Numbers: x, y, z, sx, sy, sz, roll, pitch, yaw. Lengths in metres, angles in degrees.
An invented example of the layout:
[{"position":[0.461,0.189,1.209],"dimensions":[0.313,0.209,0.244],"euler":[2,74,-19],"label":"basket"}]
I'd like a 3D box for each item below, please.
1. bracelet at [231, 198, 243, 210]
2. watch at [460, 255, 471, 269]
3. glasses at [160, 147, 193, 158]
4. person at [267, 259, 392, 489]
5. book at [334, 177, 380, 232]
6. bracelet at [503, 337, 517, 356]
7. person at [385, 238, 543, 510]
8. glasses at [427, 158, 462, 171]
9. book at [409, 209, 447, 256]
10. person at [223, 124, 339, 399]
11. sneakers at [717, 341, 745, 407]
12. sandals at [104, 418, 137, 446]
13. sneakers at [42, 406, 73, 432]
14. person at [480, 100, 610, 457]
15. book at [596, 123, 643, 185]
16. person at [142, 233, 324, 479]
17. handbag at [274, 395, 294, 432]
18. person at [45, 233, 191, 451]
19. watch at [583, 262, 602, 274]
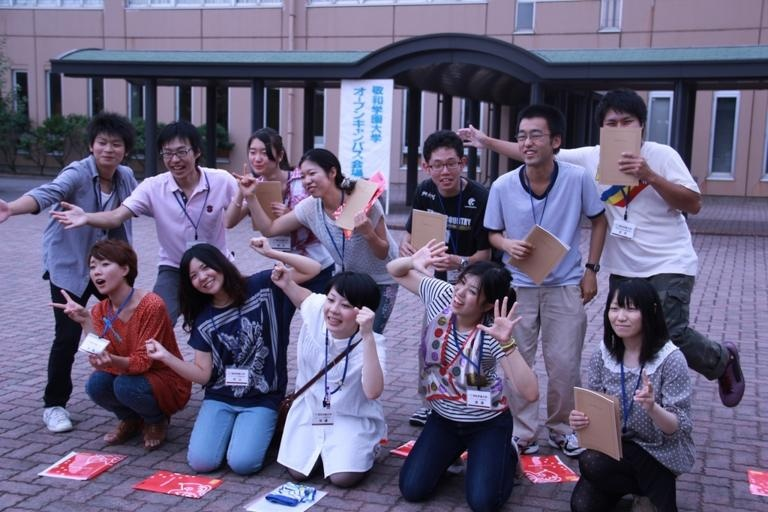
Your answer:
[{"position":[-1.307,-0.466,5.406],"dimensions":[0.088,0.095,0.095],"euler":[14,-31,-17],"label":"bracelet"},{"position":[0.700,0.063,5.174],"dimensions":[0.093,0.105,0.065],"euler":[2,8,18],"label":"watch"},{"position":[-1.851,-0.889,5.295],"dimensions":[0.304,0.111,0.185],"euler":[4,10,21],"label":"glasses"},{"position":[-0.400,0.870,4.620],"dimensions":[0.856,1.521,0.635],"euler":[3,9,14],"label":"person"},{"position":[-0.210,-0.423,4.894],"dimensions":[0.320,0.435,0.102],"euler":[27,-8,45],"label":"book"},{"position":[0.839,0.617,4.124],"dimensions":[0.096,0.149,0.148],"euler":[2,9,12],"label":"bracelet"},{"position":[0.577,0.816,4.413],"dimensions":[1.059,1.729,0.864],"euler":[5,10,26],"label":"person"},{"position":[0.502,-0.754,5.045],"dimensions":[0.275,0.094,0.107],"euler":[1,9,2],"label":"glasses"},{"position":[0.353,-0.179,4.911],"dimensions":[0.332,0.480,0.046],"euler":[6,6,33],"label":"book"},{"position":[-0.923,-0.069,5.796],"dimensions":[1.071,2.274,0.985],"euler":[-18,5,-30],"label":"person"},{"position":[2.954,1.035,5.152],"dimensions":[0.225,0.607,0.207],"euler":[-4,0,-43],"label":"sneakers"},{"position":[-2.194,1.434,5.012],"dimensions":[0.111,0.234,0.316],"euler":[3,2,30],"label":"sandals"},{"position":[-2.730,1.368,5.102],"dimensions":[0.136,0.139,0.320],"euler":[-6,4,-37],"label":"sneakers"},{"position":[1.263,0.202,5.002],"dimensions":[0.893,2.734,0.872],"euler":[-1,3,25],"label":"person"},{"position":[1.857,-0.794,4.775],"dimensions":[0.326,0.490,0.112],"euler":[2,-1,20],"label":"book"},{"position":[-1.191,0.774,4.747],"dimensions":[1.375,1.787,1.003],"euler":[-2,2,-28],"label":"person"},{"position":[-0.795,1.246,4.794],"dimensions":[0.107,0.233,0.214],"euler":[22,-14,12],"label":"handbag"},{"position":[-2.148,0.717,5.020],"dimensions":[0.923,1.626,0.925],"euler":[-3,-2,-9],"label":"person"},{"position":[1.730,0.095,5.071],"dimensions":[0.108,0.080,0.112],"euler":[8,-3,43],"label":"watch"}]
